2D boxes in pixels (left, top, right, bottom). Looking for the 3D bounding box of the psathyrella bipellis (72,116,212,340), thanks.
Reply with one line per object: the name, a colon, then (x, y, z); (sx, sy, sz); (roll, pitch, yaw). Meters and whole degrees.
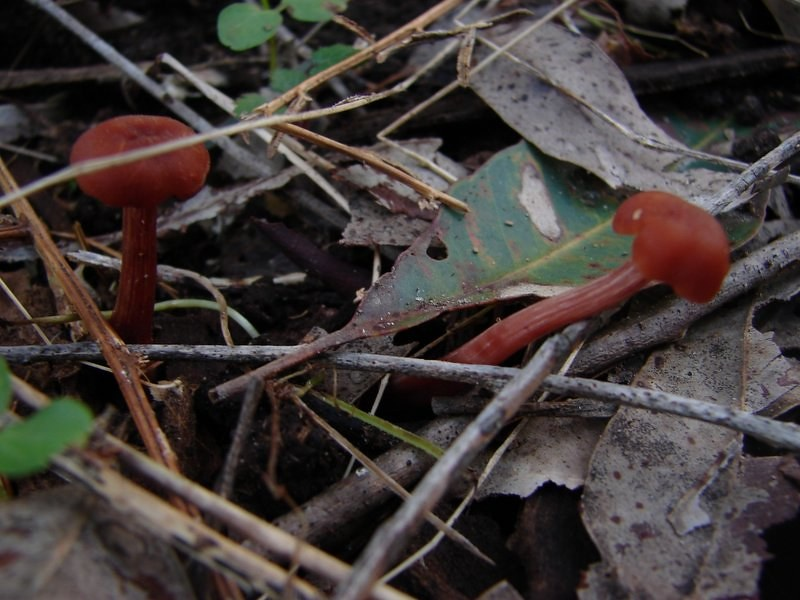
psathyrella bipellis: (-0.730, -0.190, 2.034); (0.317, 0.579, 0.376); (18, 47, -2)
